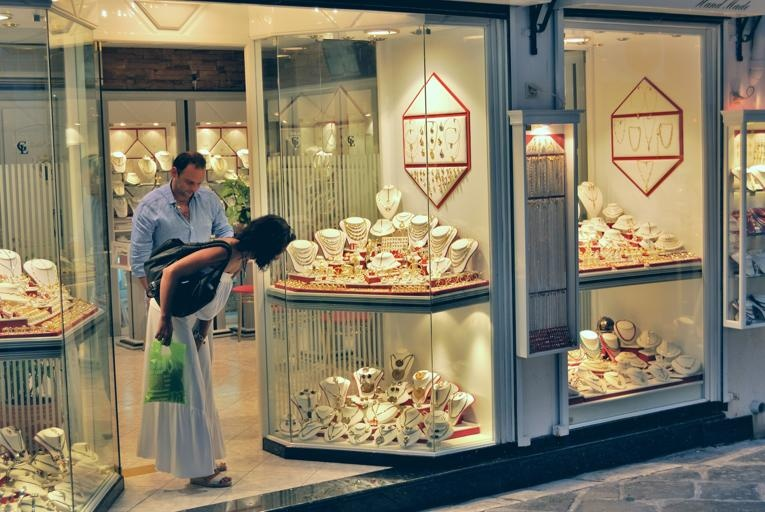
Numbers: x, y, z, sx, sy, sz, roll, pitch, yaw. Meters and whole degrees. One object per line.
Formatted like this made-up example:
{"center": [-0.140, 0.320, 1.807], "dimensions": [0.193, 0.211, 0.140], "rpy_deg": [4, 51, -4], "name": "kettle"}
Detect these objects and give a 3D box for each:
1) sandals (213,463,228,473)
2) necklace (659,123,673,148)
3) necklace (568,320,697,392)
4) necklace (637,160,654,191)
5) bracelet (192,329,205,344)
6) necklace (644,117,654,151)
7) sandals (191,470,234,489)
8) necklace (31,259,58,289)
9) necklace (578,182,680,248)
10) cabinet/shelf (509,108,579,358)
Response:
{"center": [-1.190, 1.563, 5.383], "dimensions": [0.035, 0.045, 0.102], "rpy_deg": [-5, -13, 18], "name": "sandals"}
{"center": [2.472, -1.052, 6.377], "dimensions": [0.024, 0.192, 0.127], "rpy_deg": [-5, 12, -27], "name": "necklace"}
{"center": [2.074, 0.847, 6.417], "dimensions": [1.168, 0.431, 0.765], "rpy_deg": [-3, 12, -19], "name": "necklace"}
{"center": [2.364, -0.731, 6.553], "dimensions": [0.143, 0.230, 0.061], "rpy_deg": [6, 1, 43], "name": "necklace"}
{"center": [-1.314, 0.578, 5.232], "dimensions": [0.069, 0.089, 0.034], "rpy_deg": [6, 4, -40], "name": "bracelet"}
{"center": [2.366, -1.110, 6.504], "dimensions": [0.017, 0.241, 0.091], "rpy_deg": [-8, 14, -38], "name": "necklace"}
{"center": [-1.246, 1.625, 5.345], "dimensions": [0.264, 0.109, 0.119], "rpy_deg": [-1, -1, 5], "name": "sandals"}
{"center": [-2.173, 0.112, 4.710], "dimensions": [0.145, 0.174, 0.199], "rpy_deg": [-2, 6, -43], "name": "necklace"}
{"center": [2.224, -0.364, 6.574], "dimensions": [0.428, 0.402, 1.048], "rpy_deg": [-32, 38, -34], "name": "necklace"}
{"center": [1.228, -0.167, 5.521], "dimensions": [0.564, 1.829, 0.345], "rpy_deg": [-3, 11, -18], "name": "cabinet/shelf"}
